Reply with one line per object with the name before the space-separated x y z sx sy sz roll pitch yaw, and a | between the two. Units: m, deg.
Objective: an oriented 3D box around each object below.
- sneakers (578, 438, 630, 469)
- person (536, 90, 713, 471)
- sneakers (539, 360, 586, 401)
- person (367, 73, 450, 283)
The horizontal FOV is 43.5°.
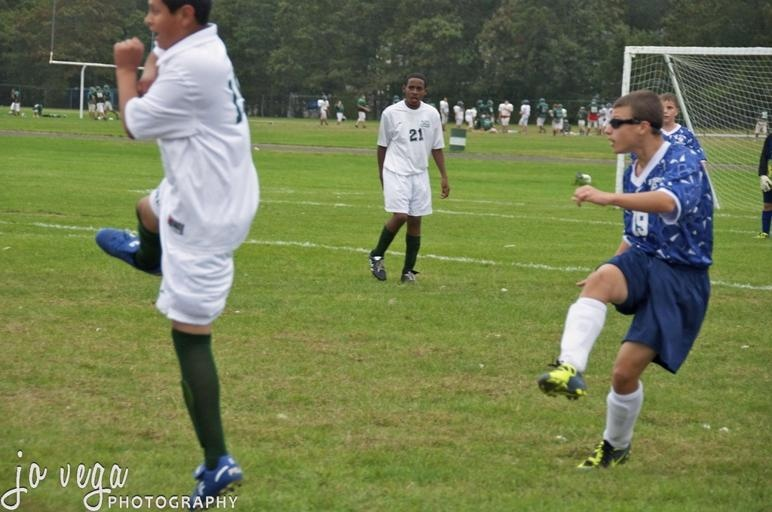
sneakers | 1.680 1.593 7.775 0.525 0.184 0.172 -5 3 -20
person | 1.935 0.197 7.651 1.406 2.968 0.845 -5 16 -40
sneakers | 1.322 0.928 7.348 0.210 0.261 0.520 -33 -34 33
person | 0.291 -0.998 11.942 0.876 2.458 1.163 7 12 8
